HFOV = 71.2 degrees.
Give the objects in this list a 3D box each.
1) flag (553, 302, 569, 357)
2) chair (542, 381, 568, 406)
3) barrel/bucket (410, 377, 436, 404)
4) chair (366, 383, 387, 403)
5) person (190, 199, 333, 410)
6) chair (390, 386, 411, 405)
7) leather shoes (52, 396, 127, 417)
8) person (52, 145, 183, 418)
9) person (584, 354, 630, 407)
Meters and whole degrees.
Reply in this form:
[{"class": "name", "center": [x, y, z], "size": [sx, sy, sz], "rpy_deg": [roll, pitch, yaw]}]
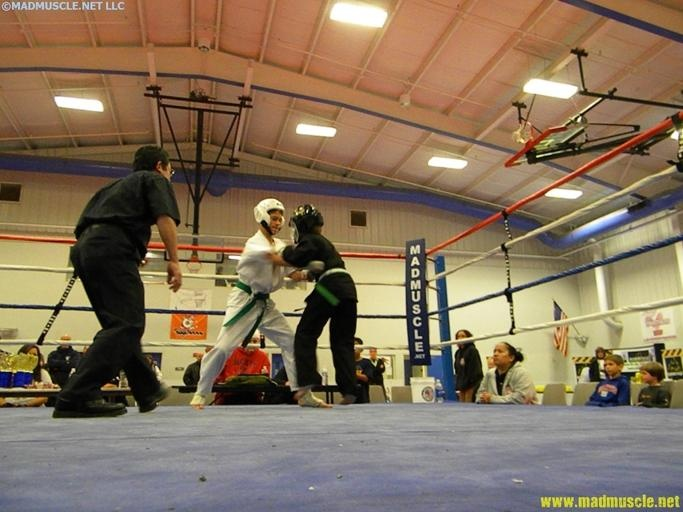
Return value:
[{"class": "flag", "center": [6.423, 2.077, 13.917], "size": [0.440, 1.644, 0.747], "rpy_deg": [-3, -14, 22]}, {"class": "chair", "center": [1.891, 1.211, 4.236], "size": [0.176, 0.181, 0.203], "rpy_deg": [-2, -12, 16]}, {"class": "barrel/bucket", "center": [0.769, 1.356, 4.822], "size": [0.349, 0.288, 0.267], "rpy_deg": [1, -16, -3]}, {"class": "chair", "center": [0.344, 1.383, 4.792], "size": [0.275, 0.153, 0.223], "rpy_deg": [2, -10, -12]}, {"class": "person", "center": [-0.568, 0.267, 3.145], "size": [0.617, 1.369, 0.380], "rpy_deg": [2, -14, 1]}, {"class": "chair", "center": [0.604, 1.410, 4.856], "size": [0.270, 0.136, 0.212], "rpy_deg": [-1, -2, 9]}, {"class": "leather shoes", "center": [-1.077, 0.660, 2.130], "size": [0.354, 0.096, 0.106], "rpy_deg": [2, -13, -13]}, {"class": "person", "center": [-1.093, 0.042, 2.436], "size": [0.535, 1.491, 0.479], "rpy_deg": [7, -14, -16]}, {"class": "person", "center": [2.062, 0.956, 3.694], "size": [0.296, 0.365, 0.741], "rpy_deg": [-5, -12, 28]}]
